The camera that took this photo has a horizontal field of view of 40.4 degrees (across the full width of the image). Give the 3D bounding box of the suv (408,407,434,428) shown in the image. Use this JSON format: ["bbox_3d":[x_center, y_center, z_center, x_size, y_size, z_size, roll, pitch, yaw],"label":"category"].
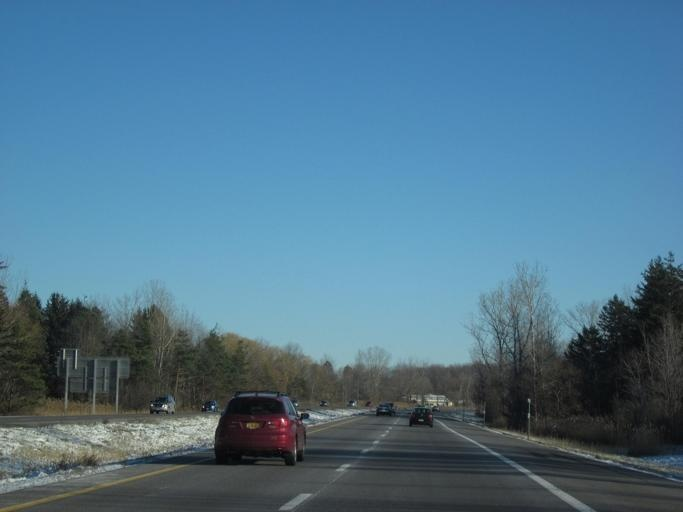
[{"bbox_3d":[6.545,13.106,75.492,1.865,1.909,3.904,0,-14,4],"label":"suv"}]

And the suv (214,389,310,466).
[{"bbox_3d":[-3.680,7.797,42.325,3.962,3.488,2.082,1,-14,-11],"label":"suv"}]

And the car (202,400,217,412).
[{"bbox_3d":[-14.609,16.644,103.864,1.129,1.289,2.335,-1,-13,2],"label":"car"}]

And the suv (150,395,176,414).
[{"bbox_3d":[-17.382,14.688,91.459,1.450,1.520,2.878,-1,-21,2],"label":"suv"}]
